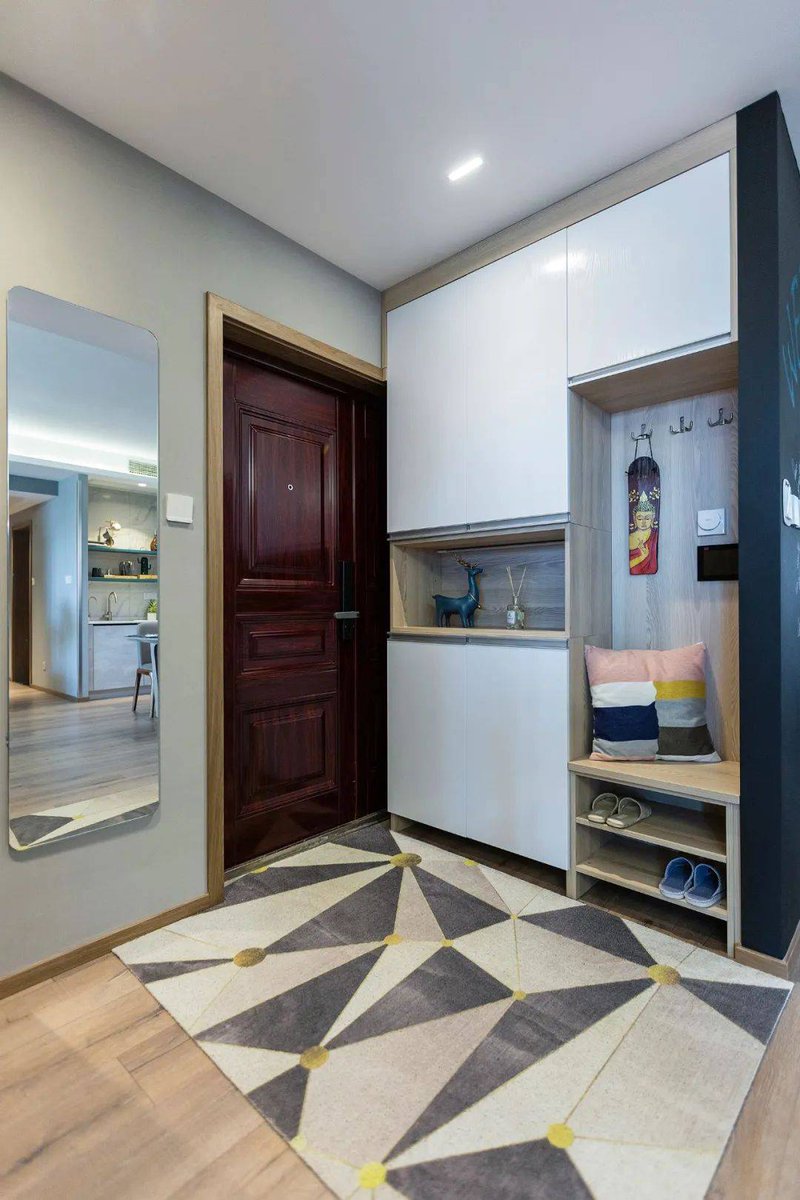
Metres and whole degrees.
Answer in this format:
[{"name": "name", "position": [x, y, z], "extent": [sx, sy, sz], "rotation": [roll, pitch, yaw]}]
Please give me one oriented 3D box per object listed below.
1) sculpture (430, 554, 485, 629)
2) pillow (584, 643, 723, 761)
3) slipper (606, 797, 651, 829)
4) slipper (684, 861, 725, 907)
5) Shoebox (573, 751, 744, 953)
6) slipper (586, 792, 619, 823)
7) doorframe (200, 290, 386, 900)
[{"name": "sculpture", "position": [0.250, -0.019, 3.166], "extent": [0.212, 0.396, 0.188], "rotation": [-1, 1, 13]}, {"name": "pillow", "position": [0.807, 0.327, 2.480], "extent": [0.243, 0.331, 0.106], "rotation": [-1, -12, 13]}, {"name": "slipper", "position": [0.716, 0.671, 2.472], "extent": [0.062, 0.068, 0.179], "rotation": [1, 1, 27]}, {"name": "slipper", "position": [0.866, 0.798, 2.246], "extent": [0.055, 0.081, 0.168], "rotation": [0, 2, 25]}, {"name": "Shoebox", "position": [0.817, 0.702, 2.432], "extent": [0.507, 0.626, 0.365], "rotation": [-3, -6, 42]}, {"name": "slipper", "position": [0.650, 0.662, 2.521], "extent": [0.046, 0.051, 0.158], "rotation": [-1, 9, 20]}, {"name": "doorframe", "position": [-0.387, -0.016, 2.796], "extent": [0.097, 1.762, 0.658], "rotation": [-1, -2, 37]}]
